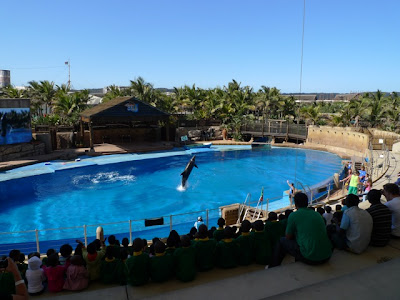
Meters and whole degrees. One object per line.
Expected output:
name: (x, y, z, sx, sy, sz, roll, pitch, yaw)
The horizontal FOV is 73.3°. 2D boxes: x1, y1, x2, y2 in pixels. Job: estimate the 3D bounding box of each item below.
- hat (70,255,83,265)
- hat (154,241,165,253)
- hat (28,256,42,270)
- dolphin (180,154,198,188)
hat: (-2.352, 2.113, 5.101, 0.236, 0.214, 0.177, -1, 11, -28)
hat: (-0.704, 1.772, 4.925, 0.181, 0.218, 0.218, 4, 14, -3)
hat: (-3.059, 2.107, 4.996, 0.184, 0.157, 0.256, -2, 26, -15)
dolphin: (-0.977, 1.548, 17.060, 0.772, 2.583, 0.869, -18, 50, -44)
